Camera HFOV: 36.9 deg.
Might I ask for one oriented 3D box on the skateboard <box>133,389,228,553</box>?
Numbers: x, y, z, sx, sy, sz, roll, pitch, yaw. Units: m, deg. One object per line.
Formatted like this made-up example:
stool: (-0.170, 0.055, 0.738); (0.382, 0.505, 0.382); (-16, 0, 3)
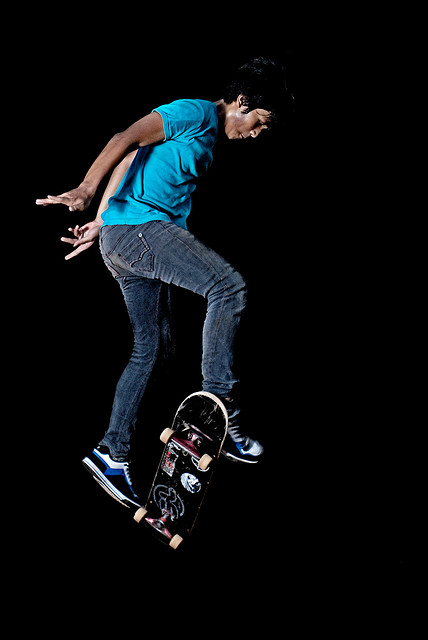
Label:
skateboard: (-0.157, 0.657, 2.864); (0.366, 0.691, 0.270); (12, 21, 16)

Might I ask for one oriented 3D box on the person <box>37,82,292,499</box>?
person: (-0.189, -0.187, 3.110); (1.011, 1.916, 1.133); (5, 20, -4)
